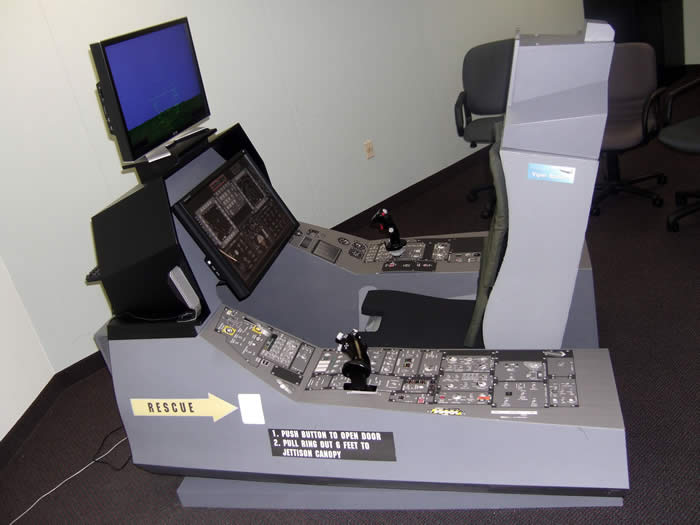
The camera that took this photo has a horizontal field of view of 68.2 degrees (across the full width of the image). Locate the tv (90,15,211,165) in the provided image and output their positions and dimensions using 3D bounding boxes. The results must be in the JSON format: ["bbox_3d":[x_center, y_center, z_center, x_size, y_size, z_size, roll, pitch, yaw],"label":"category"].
[{"bbox_3d":[-0.756,-0.717,2.148,0.591,0.450,0.102,-1,20,37],"label":"tv"}]
